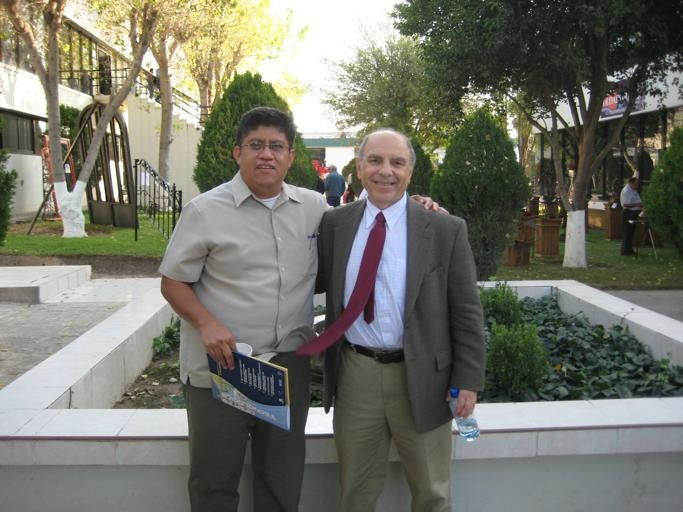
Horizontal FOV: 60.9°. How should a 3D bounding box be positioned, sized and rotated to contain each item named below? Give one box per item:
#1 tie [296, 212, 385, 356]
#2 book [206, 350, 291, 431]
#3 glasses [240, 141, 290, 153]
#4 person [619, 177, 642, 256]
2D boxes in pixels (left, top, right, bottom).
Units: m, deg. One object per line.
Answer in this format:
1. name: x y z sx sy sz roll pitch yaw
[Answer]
1. tie: 0.004 0.156 3.382 0.109 0.847 0.138 18 -11 4
2. book: -0.502 0.712 3.167 0.506 0.384 0.197 4 3 38
3. glasses: -0.433 -0.633 3.360 0.230 0.061 0.031 3 2 -8
4. person: 7.079 -1.032 14.224 0.470 1.482 1.753 3 2 27
